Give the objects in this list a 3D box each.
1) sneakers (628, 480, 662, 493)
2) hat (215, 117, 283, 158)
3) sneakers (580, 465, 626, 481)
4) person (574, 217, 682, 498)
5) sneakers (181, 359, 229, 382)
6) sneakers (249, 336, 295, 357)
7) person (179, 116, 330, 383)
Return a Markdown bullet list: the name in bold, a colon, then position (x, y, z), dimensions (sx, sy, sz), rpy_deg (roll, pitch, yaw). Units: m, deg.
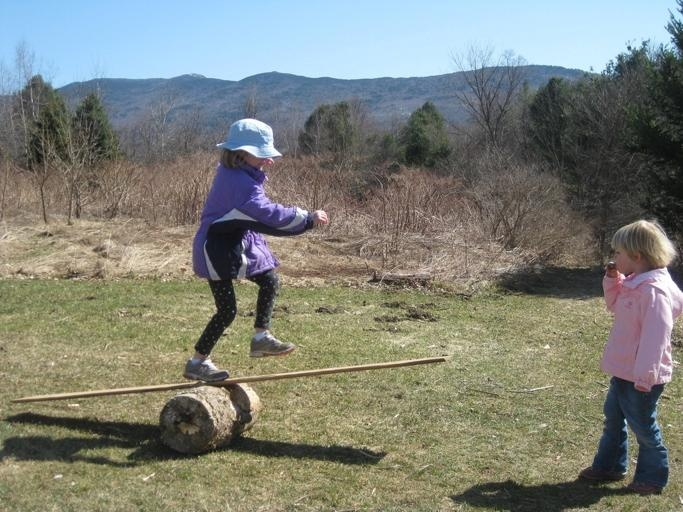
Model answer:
- **sneakers**: position (2.915, 2.237, 7.595), dimensions (0.272, 0.135, 0.115), rpy_deg (7, 4, 15)
- **hat**: position (-0.980, -1.258, 8.360), dimensions (0.715, 0.426, 0.836), rpy_deg (4, 7, -25)
- **sneakers**: position (2.577, 2.143, 7.847), dimensions (0.350, 0.186, 0.169), rpy_deg (4, 1, 23)
- **person**: position (2.827, 0.981, 7.617), dimensions (0.794, 2.609, 0.589), rpy_deg (8, 11, 30)
- **sneakers**: position (-1.449, 1.218, 8.384), dimensions (0.494, 0.273, 0.205), rpy_deg (4, 2, 4)
- **sneakers**: position (-0.746, 0.966, 8.454), dimensions (0.478, 0.259, 0.203), rpy_deg (-2, 6, -2)
- **person**: position (-1.036, -0.022, 8.197), dimensions (1.180, 2.769, 0.494), rpy_deg (0, 9, -12)
